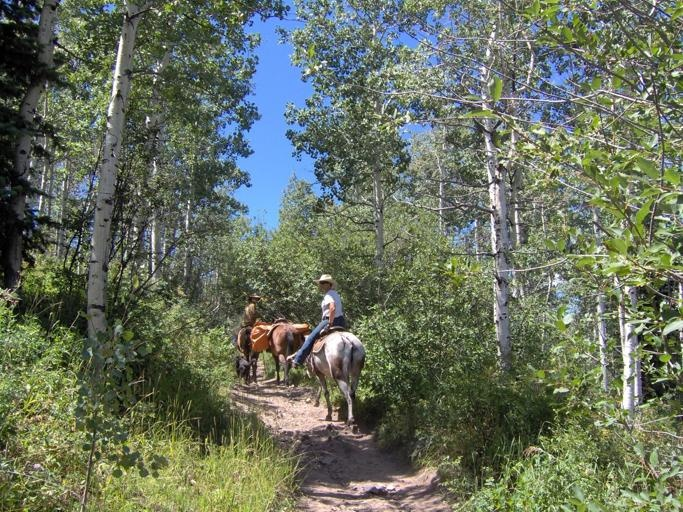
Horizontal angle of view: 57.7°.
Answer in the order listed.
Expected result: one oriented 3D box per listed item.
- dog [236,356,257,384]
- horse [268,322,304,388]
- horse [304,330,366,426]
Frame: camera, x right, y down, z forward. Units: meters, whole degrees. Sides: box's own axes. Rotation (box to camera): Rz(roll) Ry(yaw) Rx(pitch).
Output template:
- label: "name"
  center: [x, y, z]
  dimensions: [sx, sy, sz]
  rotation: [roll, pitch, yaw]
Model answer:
- label: "dog"
  center: [-3.197, 3.831, 20.679]
  dimensions: [0.556, 0.868, 1.058]
  rotation: [4, -13, 2]
- label: "horse"
  center: [-2.082, 2.979, 20.042]
  dimensions: [0.777, 2.335, 3.069]
  rotation: [2, -3, -23]
- label: "horse"
  center: [-0.316, 2.742, 15.561]
  dimensions: [0.968, 2.630, 2.965]
  rotation: [0, -2, -22]
